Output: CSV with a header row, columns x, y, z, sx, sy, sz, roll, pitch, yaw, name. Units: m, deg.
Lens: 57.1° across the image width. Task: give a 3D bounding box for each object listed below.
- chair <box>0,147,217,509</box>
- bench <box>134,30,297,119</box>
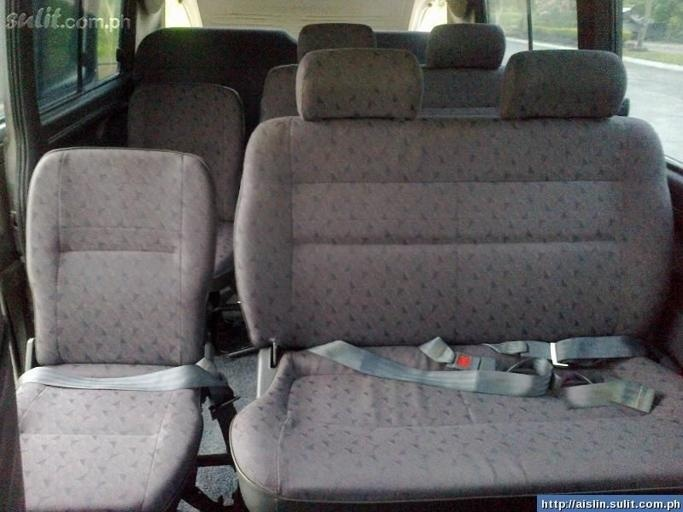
x,y,z,sx,sy,sz,roll,pitch,yaw,name
-0.697,0.165,1.784,0.584,0.896,0.670,-1,14,0,chair
-0.682,-1.011,3.530,0.546,0.674,0.538,0,17,-6,bench
